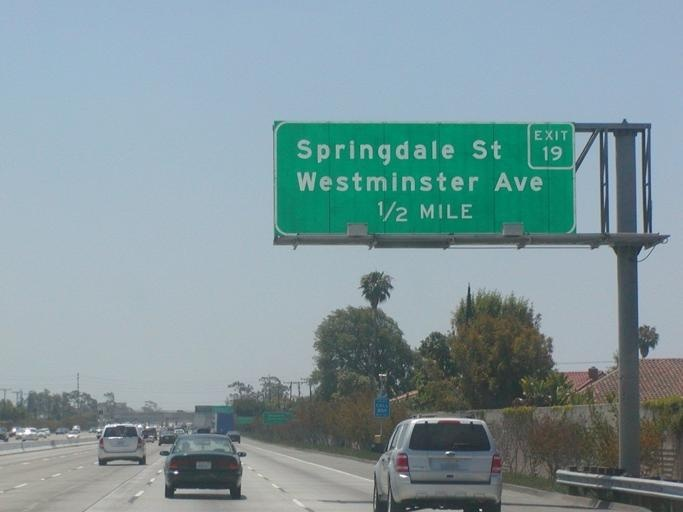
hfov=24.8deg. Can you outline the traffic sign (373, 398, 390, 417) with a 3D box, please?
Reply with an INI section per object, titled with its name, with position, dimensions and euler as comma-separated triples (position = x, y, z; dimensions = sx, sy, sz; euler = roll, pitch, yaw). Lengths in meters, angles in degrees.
[traffic sign]
position = 2.509, 9.487, 96.750
dimensions = 1.026, 1.676, 0.139
euler = -2, 2, 0
